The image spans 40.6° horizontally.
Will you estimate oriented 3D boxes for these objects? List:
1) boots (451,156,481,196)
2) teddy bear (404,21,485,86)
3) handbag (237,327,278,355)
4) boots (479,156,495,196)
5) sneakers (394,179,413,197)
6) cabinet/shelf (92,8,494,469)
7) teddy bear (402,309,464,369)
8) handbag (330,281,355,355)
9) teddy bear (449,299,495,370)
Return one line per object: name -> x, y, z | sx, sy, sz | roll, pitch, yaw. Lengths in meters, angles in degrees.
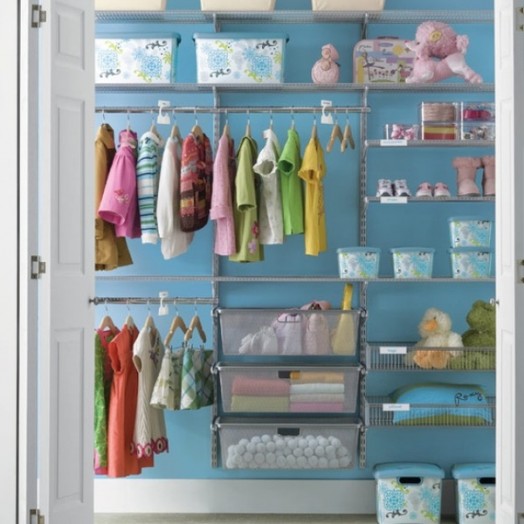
boots -> 0.992, -0.419, 3.451 | 0.115, 0.198, 0.282 | 2, 12, 9
teddy bear -> 0.841, -1.002, 3.426 | 0.402, 0.324, 0.229 | 6, 12, 7
handbag -> -0.009, 0.372, 3.323 | 0.139, 0.065, 0.137 | -1, 1, -36
boots -> 1.096, -0.416, 3.429 | 0.078, 0.177, 0.242 | -4, 19, 19
sneakers -> 0.666, -0.354, 3.407 | 0.073, 0.085, 0.120 | -2, 3, 5
cabinet/shelf -> 0.164, -0.124, 3.439 | 2.071, 2.173, 0.713 | 0, -1, 0
teddy bear -> 0.815, 0.363, 3.387 | 0.262, 0.268, 0.176 | -2, 3, 12
handbag -> 0.398, 0.268, 3.370 | 0.094, 0.327, 0.166 | -1, 3, 29
teddy bear -> 1.021, 0.359, 3.465 | 0.235, 0.358, 0.161 | -1, -7, 0
